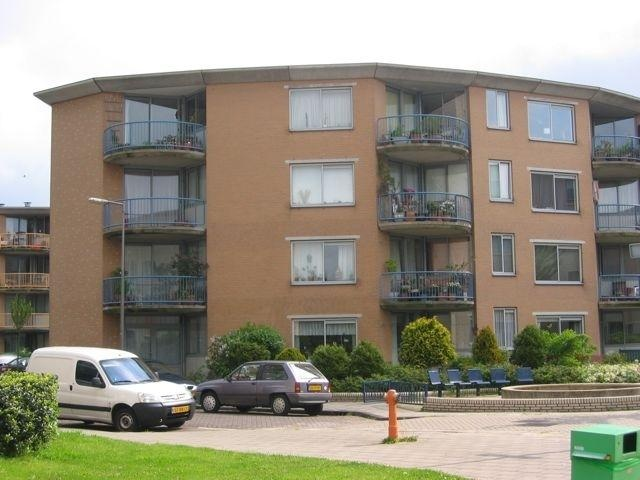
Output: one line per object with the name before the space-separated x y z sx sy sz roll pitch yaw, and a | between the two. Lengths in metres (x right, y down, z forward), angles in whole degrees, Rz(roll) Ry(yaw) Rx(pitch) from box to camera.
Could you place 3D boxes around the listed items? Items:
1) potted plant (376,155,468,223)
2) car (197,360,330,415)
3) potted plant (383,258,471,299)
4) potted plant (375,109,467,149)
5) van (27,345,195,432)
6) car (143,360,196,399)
potted plant | 4.662 -2.161 50.364 3.121 3.075 3.137 -6 -10 26
car | -1.930 5.318 41.376 3.652 1.390 2.114 0 -6 29
potted plant | 4.504 1.981 48.890 3.505 1.319 0.608 -1 -9 -3
potted plant | 4.505 -4.788 50.228 4.076 1.579 1.331 -1 -9 -3
van | -6.682 4.805 37.173 4.805 2.045 2.657 -4 -7 26
car | -5.858 5.397 45.403 1.231 0.873 2.654 6 -9 -44
